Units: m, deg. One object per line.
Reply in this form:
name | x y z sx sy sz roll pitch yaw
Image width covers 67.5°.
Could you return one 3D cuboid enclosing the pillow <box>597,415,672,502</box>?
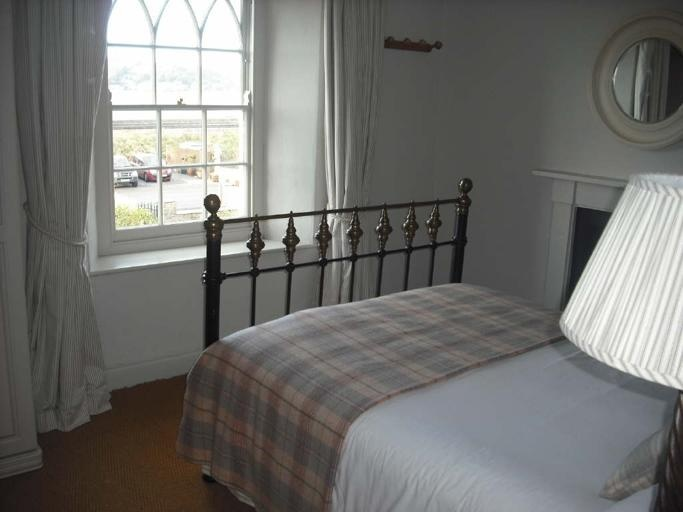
pillow | 0.668 0.461 1.219 0.052 0.204 0.182 23 36 8
